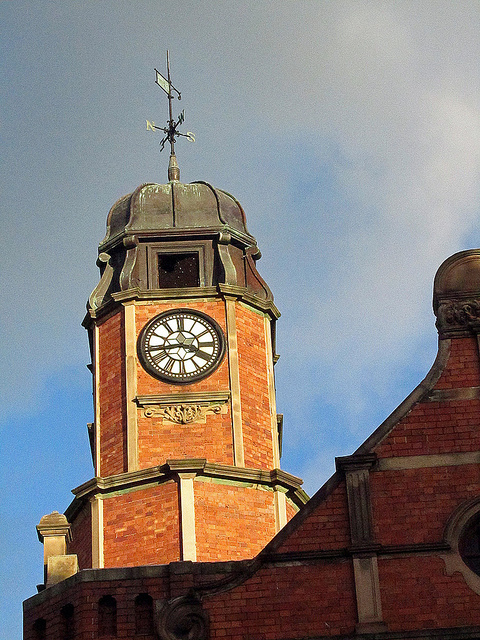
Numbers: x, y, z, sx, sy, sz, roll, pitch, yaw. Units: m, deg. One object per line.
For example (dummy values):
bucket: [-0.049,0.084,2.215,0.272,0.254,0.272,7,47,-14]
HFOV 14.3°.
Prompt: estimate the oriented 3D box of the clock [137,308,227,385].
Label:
clock: [-1.255,0.607,41.170,1.788,1.933,0.155,4,-44,0]

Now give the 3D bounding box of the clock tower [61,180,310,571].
clock tower: [-1.156,1.861,39.430,5.230,10.819,5.611,1,-43,-4]
